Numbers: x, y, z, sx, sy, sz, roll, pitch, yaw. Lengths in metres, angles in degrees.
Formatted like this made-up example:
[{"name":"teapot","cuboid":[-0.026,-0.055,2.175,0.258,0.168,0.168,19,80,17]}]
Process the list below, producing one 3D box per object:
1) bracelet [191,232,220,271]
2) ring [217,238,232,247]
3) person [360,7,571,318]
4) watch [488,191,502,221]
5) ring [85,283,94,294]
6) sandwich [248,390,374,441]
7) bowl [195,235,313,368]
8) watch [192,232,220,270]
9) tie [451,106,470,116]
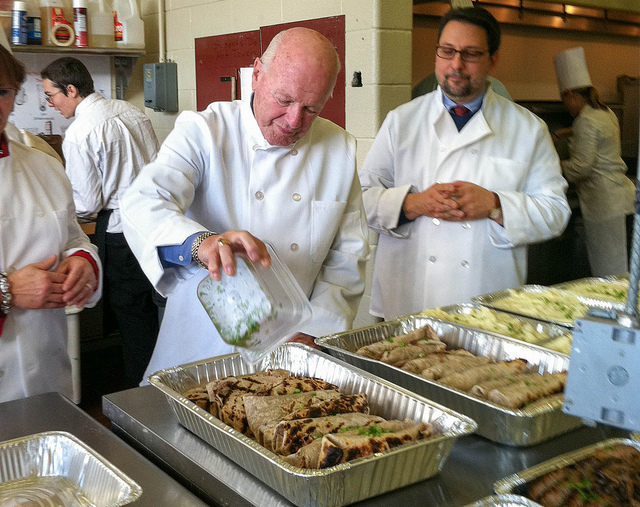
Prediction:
[{"name":"bracelet","cuboid":[-0.330,-0.008,1.327,0.076,0.099,0.036,-11,9,-28]},{"name":"ring","cuboid":[-0.238,-0.031,1.154,0.010,0.021,0.026,-44,51,-16]},{"name":"person","cuboid":[0.727,-0.410,2.361,1.005,1.569,0.464,-1,8,-3]},{"name":"watch","cuboid":[0.816,-0.224,2.222,0.037,0.112,0.077,15,-32,-30]},{"name":"ring","cuboid":[-0.839,0.126,1.705,0.028,0.031,0.023,-15,-25,-34]},{"name":"sandwich","cuboid":[-0.034,0.361,1.122,0.167,0.057,0.136,-5,25,-23]},{"name":"bowl","cuboid":[-0.152,0.114,1.137,0.208,0.258,0.218,-1,9,0]},{"name":"watch","cuboid":[-0.321,-0.004,1.300,0.057,0.100,0.097,-5,10,-26]},{"name":"tie","cuboid":[0.700,-0.711,2.326,0.045,0.017,0.046,-12,-33,42]}]
